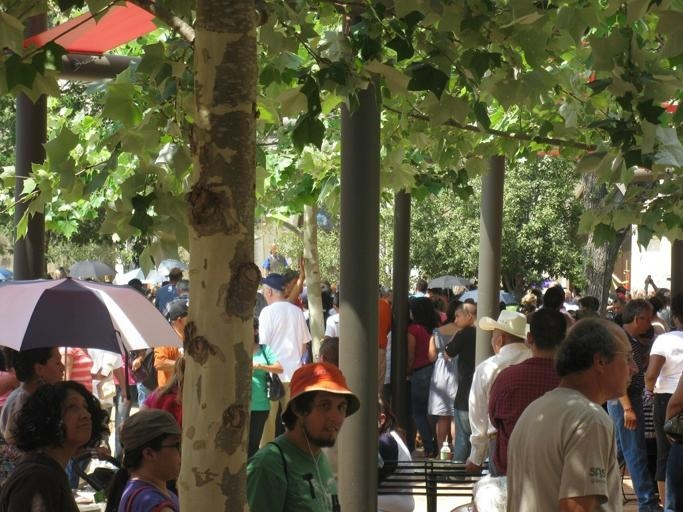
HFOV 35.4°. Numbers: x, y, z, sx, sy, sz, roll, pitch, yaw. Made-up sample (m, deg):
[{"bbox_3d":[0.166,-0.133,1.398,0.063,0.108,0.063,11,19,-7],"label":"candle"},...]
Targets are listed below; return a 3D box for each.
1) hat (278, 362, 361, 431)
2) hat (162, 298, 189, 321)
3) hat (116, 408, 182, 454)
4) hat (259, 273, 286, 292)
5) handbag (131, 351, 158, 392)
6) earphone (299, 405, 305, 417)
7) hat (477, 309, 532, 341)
[{"bbox_3d":[-0.170,0.899,7.166,0.540,0.330,0.474,-11,1,-17],"label":"hat"},{"bbox_3d":[-1.774,0.580,11.395,0.227,0.217,0.170,-41,-1,9],"label":"hat"},{"bbox_3d":[-1.270,1.127,7.014,0.307,0.203,0.264,-23,8,-22],"label":"hat"},{"bbox_3d":[-0.838,0.343,12.957,0.256,0.159,0.194,27,25,34],"label":"hat"},{"bbox_3d":[-2.243,1.310,12.184,0.207,0.417,0.321,-20,-26,-10],"label":"handbag"},{"bbox_3d":[-0.264,1.022,6.981,0.064,0.077,0.017,6,2,17],"label":"earphone"},{"bbox_3d":[1.489,0.617,9.750,0.293,0.136,0.299,19,-6,-36],"label":"hat"}]
